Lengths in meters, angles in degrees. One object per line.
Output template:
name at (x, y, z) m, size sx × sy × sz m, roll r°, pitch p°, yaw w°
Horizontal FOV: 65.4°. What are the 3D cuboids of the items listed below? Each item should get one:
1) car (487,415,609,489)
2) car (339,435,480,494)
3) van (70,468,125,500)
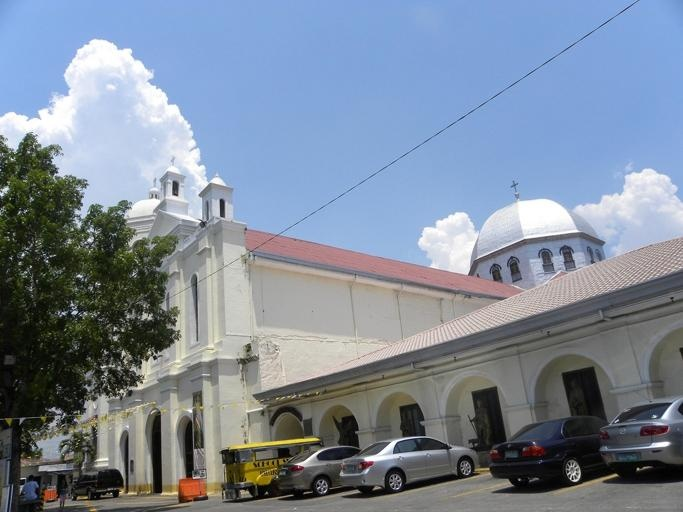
car at (5.423, 5.090, 13.845) m, size 2.851 × 1.609 × 1.081 m, roll -2°, pitch -22°, yaw -11°
car at (2.219, 6.518, 17.103) m, size 4.216 × 1.373 × 1.807 m, roll 0°, pitch -15°, yaw -28°
van at (-17.084, 15.976, 37.458) m, size 2.489 × 1.982 × 7.568 m, roll 11°, pitch -28°, yaw -36°
